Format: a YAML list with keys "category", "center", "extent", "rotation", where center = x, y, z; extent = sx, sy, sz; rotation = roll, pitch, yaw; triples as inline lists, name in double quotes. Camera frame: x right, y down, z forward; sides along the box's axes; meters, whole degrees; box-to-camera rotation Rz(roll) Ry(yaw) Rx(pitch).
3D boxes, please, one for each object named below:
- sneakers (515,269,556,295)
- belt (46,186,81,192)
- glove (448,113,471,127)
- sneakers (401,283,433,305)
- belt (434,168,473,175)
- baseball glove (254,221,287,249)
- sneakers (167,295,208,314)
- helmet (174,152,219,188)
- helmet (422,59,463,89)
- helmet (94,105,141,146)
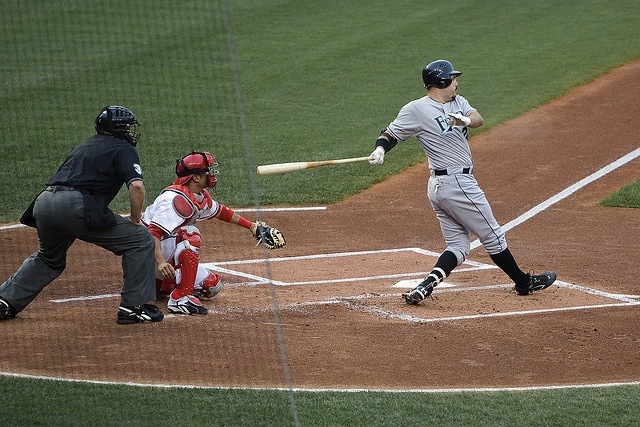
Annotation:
- category: "sneakers"
  center: [2.848, 0.920, 12.922]
  extent: [0.715, 0.280, 0.220]
  rotation: [-15, 39, 6]
- category: "belt"
  center: [-3.157, -0.314, 11.620]
  extent: [0.426, 0.082, 0.075]
  rotation: [2, 11, 15]
- category: "glove"
  center: [1.855, -1.254, 12.585]
  extent: [0.268, 0.187, 0.256]
  rotation: [1, 11, 11]
- category: "sneakers"
  center: [1.298, 1.053, 12.493]
  extent: [0.227, 0.197, 0.502]
  rotation: [-49, 14, -19]
- category: "belt"
  center: [1.743, -0.563, 12.568]
  extent: [0.502, 0.110, 0.130]
  rotation: [0, 11, 3]
- category: "baseball glove"
  center: [-0.721, 0.287, 12.269]
  extent: [0.489, 0.253, 0.210]
  rotation: [29, 24, 22]
- category: "sneakers"
  center: [-1.713, 1.186, 12.362]
  extent: [0.599, 0.220, 0.202]
  rotation: [2, 8, 5]
- category: "helmet"
  center: [-1.647, -0.615, 12.408]
  extent: [0.638, 0.414, 0.389]
  rotation: [-12, 13, -9]
- category: "helmet"
  center: [1.639, -1.887, 12.728]
  extent: [0.551, 0.324, 0.356]
  rotation: [10, 6, 5]
- category: "helmet"
  center: [-2.513, -1.131, 12.081]
  extent: [0.654, 0.457, 0.504]
  rotation: [-4, 17, -26]
